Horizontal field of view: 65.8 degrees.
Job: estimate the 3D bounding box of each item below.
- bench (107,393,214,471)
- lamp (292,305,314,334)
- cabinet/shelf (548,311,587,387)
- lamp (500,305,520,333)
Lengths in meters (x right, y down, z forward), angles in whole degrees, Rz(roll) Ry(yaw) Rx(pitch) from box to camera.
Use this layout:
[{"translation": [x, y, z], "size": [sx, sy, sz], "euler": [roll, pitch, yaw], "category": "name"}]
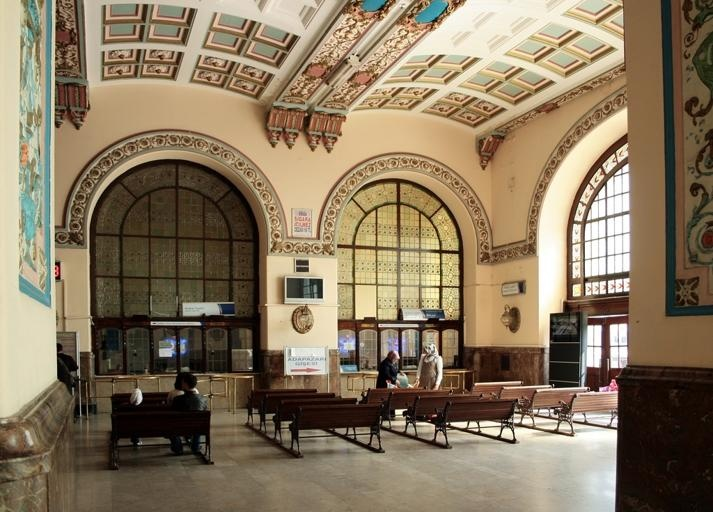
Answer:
[{"translation": [-4.086, 3.421, 11.346], "size": [1.808, 1.003, 4.827], "euler": [3, -8, -23], "category": "bench"}, {"translation": [-1.815, 2.067, 17.944], "size": [0.871, 0.914, 0.260], "euler": [3, -6, -32], "category": "lamp"}, {"translation": [6.492, 2.912, 17.154], "size": [0.348, 2.292, 1.177], "euler": [4, -8, -35], "category": "cabinet/shelf"}, {"translation": [5.320, 2.184, 19.174], "size": [0.318, 0.805, 0.568], "euler": [1, -21, -4], "category": "lamp"}]
